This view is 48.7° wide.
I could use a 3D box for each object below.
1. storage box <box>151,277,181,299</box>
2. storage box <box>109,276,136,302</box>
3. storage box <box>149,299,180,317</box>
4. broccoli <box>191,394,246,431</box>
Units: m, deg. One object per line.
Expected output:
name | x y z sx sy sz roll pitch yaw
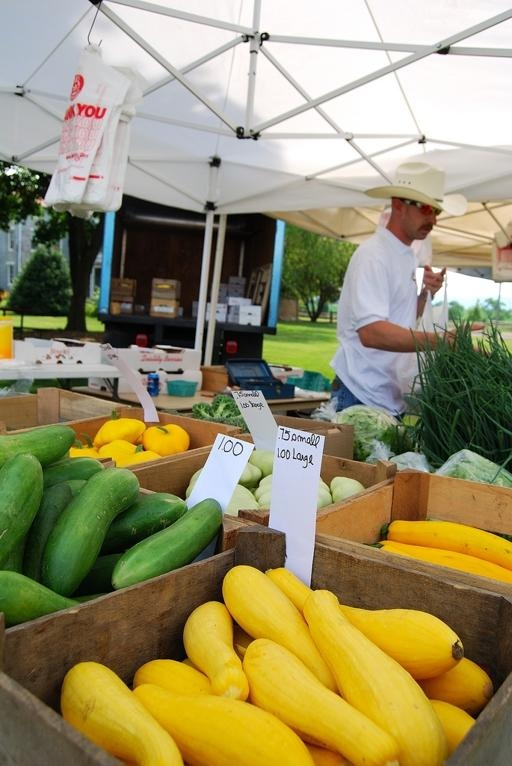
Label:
storage box | -1.598 -1.610 9.820 0.427 0.242 0.254 5 2 4
storage box | -2.300 -1.631 9.935 0.420 0.396 0.419 5 5 43
storage box | -1.589 -1.256 9.701 0.446 0.210 0.345 5 2 -12
broccoli | -0.201 0.163 3.112 0.267 0.168 0.205 5 8 39
